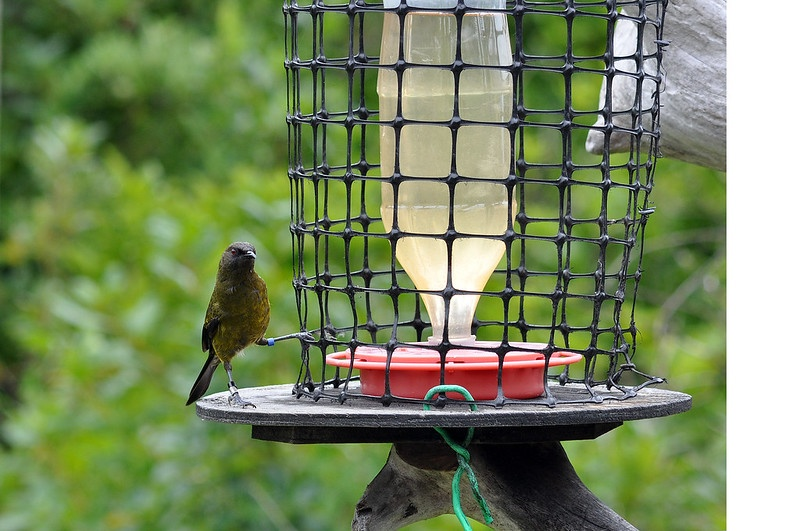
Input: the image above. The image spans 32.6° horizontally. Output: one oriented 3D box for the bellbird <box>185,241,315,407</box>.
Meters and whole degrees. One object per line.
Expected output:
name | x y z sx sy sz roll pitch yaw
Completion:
bellbird | -0.712 0.240 5.753 0.604 0.279 0.675 -3 -84 45
